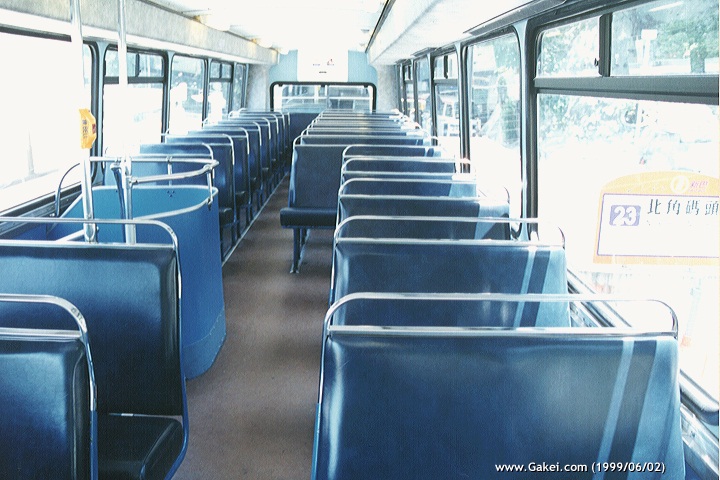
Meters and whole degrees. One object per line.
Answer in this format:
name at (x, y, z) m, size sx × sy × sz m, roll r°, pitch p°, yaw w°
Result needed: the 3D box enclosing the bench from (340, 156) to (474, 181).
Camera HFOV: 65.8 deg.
bench at (0.384, -0.649, 5.013) m, size 1.081 × 0.215 × 1.003 m, roll 5°, pitch 12°, yaw 4°
